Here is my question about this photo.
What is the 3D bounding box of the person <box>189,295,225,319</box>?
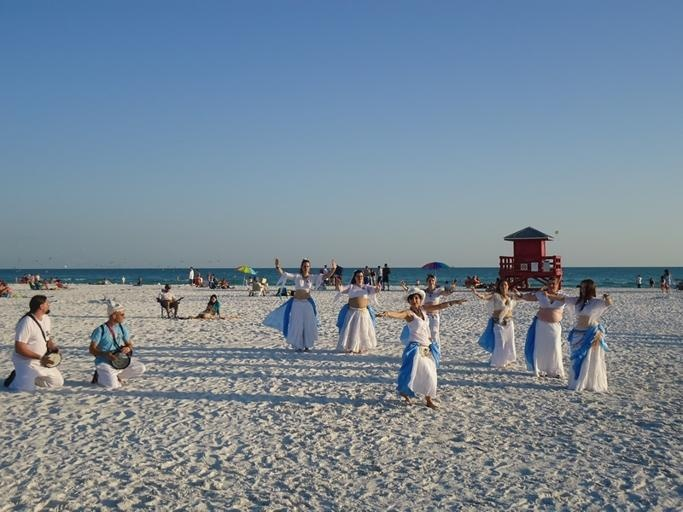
[{"bbox_3d":[-3.731,1.497,19.133,0.479,0.541,1.292,2,8,17],"label":"person"}]

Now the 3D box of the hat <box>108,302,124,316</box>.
[{"bbox_3d":[-3.449,0.808,10.305,0.223,0.204,0.202,-4,13,-18],"label":"hat"}]

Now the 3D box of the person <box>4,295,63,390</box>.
[{"bbox_3d":[-4.648,1.285,10.108,0.784,1.523,0.502,-5,15,-21],"label":"person"}]

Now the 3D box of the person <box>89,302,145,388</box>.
[{"bbox_3d":[-3.482,1.348,10.442,0.735,1.185,0.804,8,7,31],"label":"person"}]

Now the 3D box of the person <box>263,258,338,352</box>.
[{"bbox_3d":[-0.832,0.962,13.468,1.213,1.898,0.589,6,15,21],"label":"person"}]

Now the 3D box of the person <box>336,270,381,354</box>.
[{"bbox_3d":[0.355,1.079,13.382,0.776,1.762,1.008,2,13,7],"label":"person"}]
